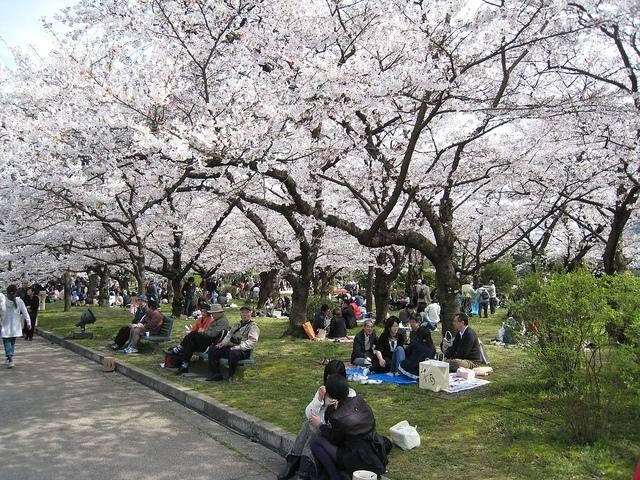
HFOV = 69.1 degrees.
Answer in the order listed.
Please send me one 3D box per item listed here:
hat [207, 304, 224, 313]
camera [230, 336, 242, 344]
[{"bbox_3d":[-2.505,1.636,11.121,0.283,0.106,0.271,-9,-9,40],"label":"hat"},{"bbox_3d":[-1.909,2.268,10.531,0.144,0.173,0.189,8,-8,-13],"label":"camera"}]
